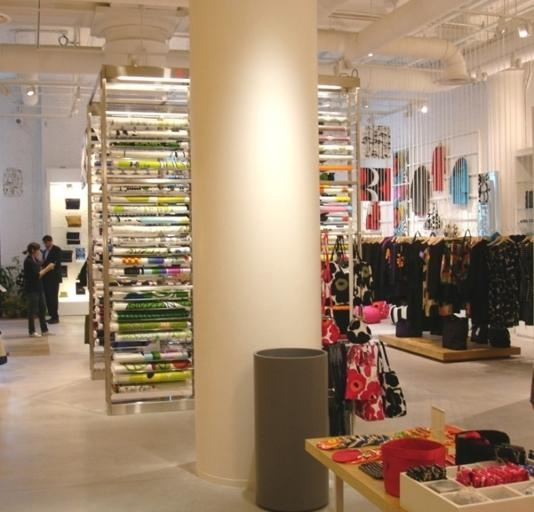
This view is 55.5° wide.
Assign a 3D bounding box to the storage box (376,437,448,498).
[{"bbox_3d":[0.436,0.622,1.545,0.178,0.148,0.145,-1,0,0],"label":"storage box"}]

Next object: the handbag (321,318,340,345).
[{"bbox_3d":[0.445,0.550,3.707,0.157,0.171,0.113,-1,-1,-30],"label":"handbag"}]

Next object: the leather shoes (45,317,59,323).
[{"bbox_3d":[-5.182,1.551,12.259,0.304,0.146,0.118,4,-12,0],"label":"leather shoes"}]

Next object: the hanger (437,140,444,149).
[{"bbox_3d":[4.049,-2.605,11.888,0.084,0.171,0.330,-2,30,9],"label":"hanger"}]

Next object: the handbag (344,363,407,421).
[{"bbox_3d":[0.738,0.963,3.557,0.398,0.443,0.261,-6,-4,8],"label":"handbag"}]

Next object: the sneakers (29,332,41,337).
[{"bbox_3d":[-4.666,1.574,10.261,0.275,0.113,0.100,3,-2,15],"label":"sneakers"}]

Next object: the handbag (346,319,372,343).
[{"bbox_3d":[0.630,0.518,3.494,0.158,0.172,0.171,-1,-1,8],"label":"handbag"}]
